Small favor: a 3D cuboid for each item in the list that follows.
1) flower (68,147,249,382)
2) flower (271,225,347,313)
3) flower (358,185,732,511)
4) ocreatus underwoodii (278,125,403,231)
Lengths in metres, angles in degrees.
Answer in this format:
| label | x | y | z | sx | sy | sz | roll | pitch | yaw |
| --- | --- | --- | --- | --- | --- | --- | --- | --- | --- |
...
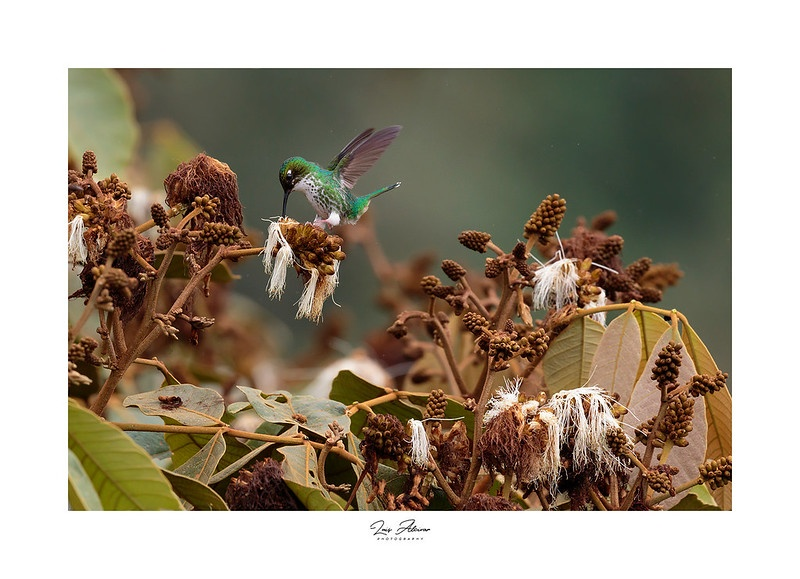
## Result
| label | x | y | z | sx | sy | sz | roll | pitch | yaw |
| --- | --- | --- | --- | --- | --- | --- | --- | --- | --- |
| flower | -0.598 | -0.026 | 3.141 | 0.452 | 0.533 | 0.537 | 10 | -24 | -36 |
| flower | -0.246 | -0.052 | 3.101 | 0.192 | 0.240 | 0.187 | 5 | -1 | -7 |
| flower | 0.400 | 0.201 | 3.285 | 0.935 | 0.796 | 0.670 | -3 | -9 | 41 |
| ocreatus underwoodii | -0.172 | -0.309 | 3.450 | 0.354 | 0.255 | 0.187 | -3 | 3 | -18 |
